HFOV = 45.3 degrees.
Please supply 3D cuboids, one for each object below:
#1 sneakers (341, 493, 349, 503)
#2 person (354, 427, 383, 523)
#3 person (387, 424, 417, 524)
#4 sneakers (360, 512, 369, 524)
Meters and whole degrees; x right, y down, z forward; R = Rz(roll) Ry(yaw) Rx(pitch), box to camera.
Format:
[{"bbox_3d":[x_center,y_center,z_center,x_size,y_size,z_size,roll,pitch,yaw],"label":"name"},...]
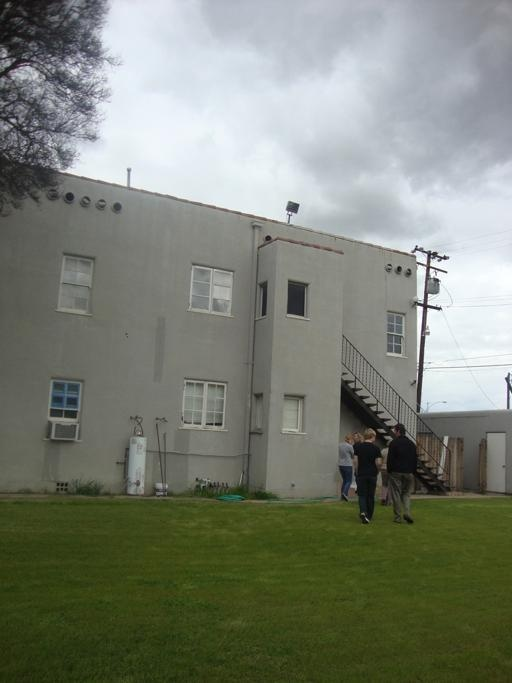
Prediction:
[{"bbox_3d":[2.168,3.776,14.838,0.084,0.179,0.257,1,-1,24],"label":"sneakers"},{"bbox_3d":[1.920,2.303,10.620,0.448,1.560,0.718,1,-9,11],"label":"person"},{"bbox_3d":[2.585,2.303,10.799,0.571,1.687,0.518,9,-11,-24],"label":"person"},{"bbox_3d":[1.836,2.984,10.326,0.082,0.227,0.097,-16,8,35],"label":"sneakers"}]
